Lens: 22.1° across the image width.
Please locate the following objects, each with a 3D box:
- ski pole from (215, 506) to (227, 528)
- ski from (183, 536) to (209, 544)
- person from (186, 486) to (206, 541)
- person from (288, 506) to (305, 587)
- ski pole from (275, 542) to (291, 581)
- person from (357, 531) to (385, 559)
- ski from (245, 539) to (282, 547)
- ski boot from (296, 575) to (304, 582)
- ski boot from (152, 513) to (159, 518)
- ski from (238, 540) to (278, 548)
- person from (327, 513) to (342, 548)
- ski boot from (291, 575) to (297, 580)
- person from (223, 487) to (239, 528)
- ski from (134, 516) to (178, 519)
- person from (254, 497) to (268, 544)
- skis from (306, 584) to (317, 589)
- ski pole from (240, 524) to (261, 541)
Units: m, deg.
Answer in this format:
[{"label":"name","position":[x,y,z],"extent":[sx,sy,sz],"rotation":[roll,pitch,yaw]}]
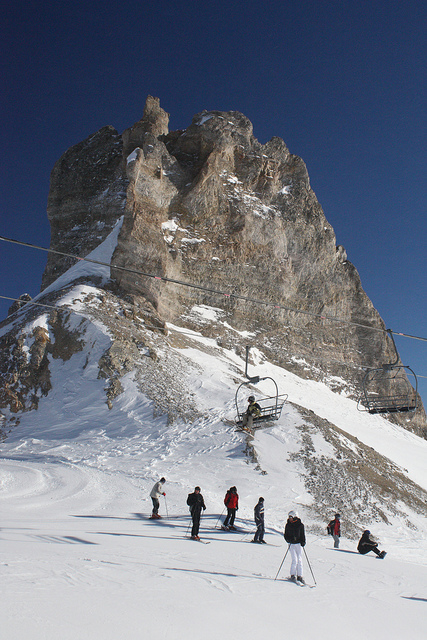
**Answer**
[{"label":"ski pole","position":[0.237,8.125,44.590],"extent":[0.094,1.205,0.046],"rotation":[35,-4,44]},{"label":"ski","position":[-0.717,8.216,40.555],"extent":[0.288,0.104,1.283],"rotation":[-1,10,-45]},{"label":"person","position":[-0.725,7.219,40.938],"extent":[0.659,1.891,1.121],"rotation":[5,7,0]},{"label":"person","position":[2.741,7.755,37.074],"extent":[0.470,2.218,1.223],"rotation":[4,7,-16]},{"label":"ski pole","position":[2.413,8.598,38.435],"extent":[0.054,1.610,0.071],"rotation":[16,-34,14]},{"label":"person","position":[6.113,8.873,42.841],"extent":[1.300,0.781,0.541],"rotation":[12,9,42]},{"label":"ski","position":[1.796,8.485,41.243],"extent":[1.082,0.059,0.108],"rotation":[10,-6,21]},{"label":"ski boot","position":[2.902,8.773,36.842],"extent":[0.105,0.195,0.287],"rotation":[1,-32,-14]},{"label":"ski boot","position":[-2.370,7.830,43.485],"extent":[0.205,0.158,0.114],"rotation":[5,7,-7]},{"label":"ski","position":[1.569,8.459,41.034],"extent":[1.779,0.026,0.063],"rotation":[6,-35,2]},{"label":"person","position":[4.865,8.640,44.351],"extent":[0.562,1.351,1.543],"rotation":[6,7,7]},{"label":"ski boot","position":[2.688,8.756,36.954],"extent":[0.206,0.203,0.110],"rotation":[0,-37,3]},{"label":"person","position":[0.628,7.391,42.950],"extent":[0.520,1.853,1.121],"rotation":[6,7,1]},{"label":"ski","position":[-2.366,7.935,43.459],"extent":[1.771,0.067,0.216],"rotation":[3,7,-23]},{"label":"person","position":[1.774,7.622,41.461],"extent":[0.545,1.710,0.645],"rotation":[3,7,-17]},{"label":"skis","position":[3.249,8.982,36.635],"extent":[0.340,0.024,0.297],"rotation":[11,9,36]},{"label":"ski pole","position":[1.400,8.330,42.519],"extent":[1.219,0.091,0.026],"rotation":[-34,-45,6]}]
